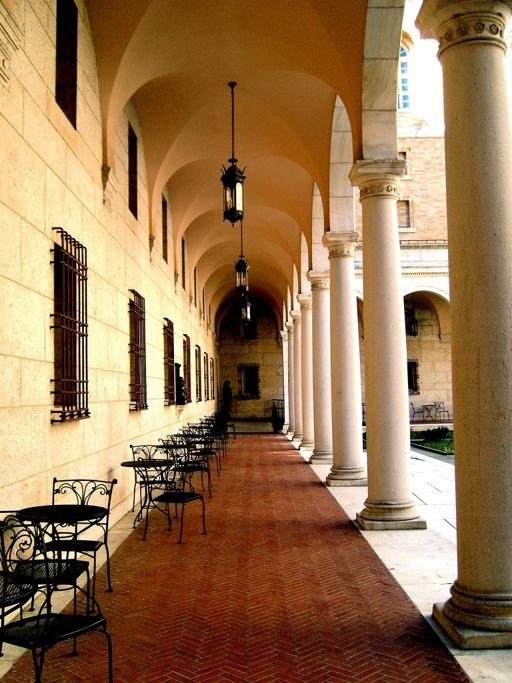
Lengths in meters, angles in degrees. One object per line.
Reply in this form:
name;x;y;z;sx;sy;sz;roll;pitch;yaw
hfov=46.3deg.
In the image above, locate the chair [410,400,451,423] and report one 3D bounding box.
chair;8.230;3.297;28.304;1.905;0.920;0.769;-2;-5;6
